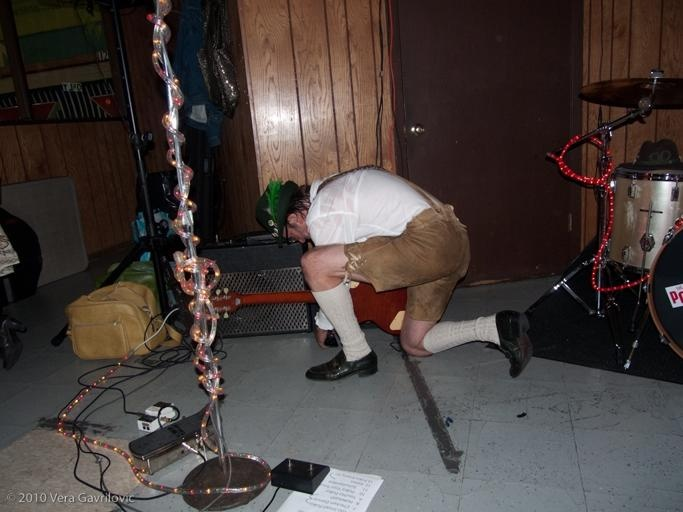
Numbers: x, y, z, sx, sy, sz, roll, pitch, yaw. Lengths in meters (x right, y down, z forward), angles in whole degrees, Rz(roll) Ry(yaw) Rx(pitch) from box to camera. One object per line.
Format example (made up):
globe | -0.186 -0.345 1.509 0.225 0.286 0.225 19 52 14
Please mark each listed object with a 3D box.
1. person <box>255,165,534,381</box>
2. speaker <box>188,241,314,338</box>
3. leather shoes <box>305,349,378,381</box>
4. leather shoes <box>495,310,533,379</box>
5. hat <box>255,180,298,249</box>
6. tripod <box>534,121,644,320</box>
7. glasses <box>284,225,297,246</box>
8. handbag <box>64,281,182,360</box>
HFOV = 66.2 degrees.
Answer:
person | 0.229 0.088 2.759 1.363 1.119 0.809 4 17 21
speaker | -0.488 0.157 2.865 0.496 0.504 0.188 -2 12 -2
leather shoes | -0.003 0.557 2.755 0.365 0.154 0.151 -2 -3 -2
leather shoes | 0.867 0.462 2.623 0.157 0.379 0.136 -10 14 3
hat | -0.309 -0.234 2.821 0.113 0.315 0.295 -12 24 -43
tripod | 1.517 -0.247 3.246 0.768 1.106 0.726 11 38 38
glasses | -0.300 -0.121 3.017 0.056 0.099 0.022 -4 14 18
handbag | -1.282 0.374 3.135 0.553 0.386 0.425 1 4 -6
